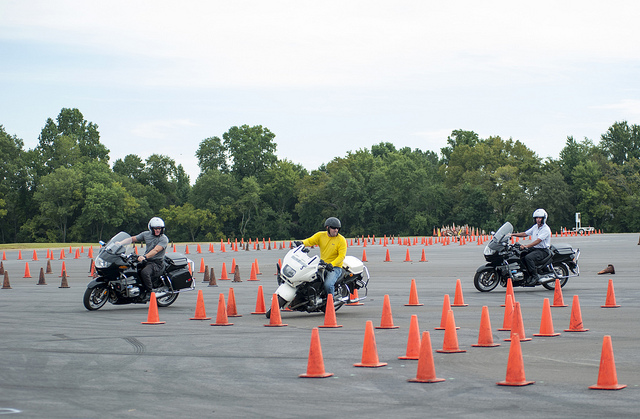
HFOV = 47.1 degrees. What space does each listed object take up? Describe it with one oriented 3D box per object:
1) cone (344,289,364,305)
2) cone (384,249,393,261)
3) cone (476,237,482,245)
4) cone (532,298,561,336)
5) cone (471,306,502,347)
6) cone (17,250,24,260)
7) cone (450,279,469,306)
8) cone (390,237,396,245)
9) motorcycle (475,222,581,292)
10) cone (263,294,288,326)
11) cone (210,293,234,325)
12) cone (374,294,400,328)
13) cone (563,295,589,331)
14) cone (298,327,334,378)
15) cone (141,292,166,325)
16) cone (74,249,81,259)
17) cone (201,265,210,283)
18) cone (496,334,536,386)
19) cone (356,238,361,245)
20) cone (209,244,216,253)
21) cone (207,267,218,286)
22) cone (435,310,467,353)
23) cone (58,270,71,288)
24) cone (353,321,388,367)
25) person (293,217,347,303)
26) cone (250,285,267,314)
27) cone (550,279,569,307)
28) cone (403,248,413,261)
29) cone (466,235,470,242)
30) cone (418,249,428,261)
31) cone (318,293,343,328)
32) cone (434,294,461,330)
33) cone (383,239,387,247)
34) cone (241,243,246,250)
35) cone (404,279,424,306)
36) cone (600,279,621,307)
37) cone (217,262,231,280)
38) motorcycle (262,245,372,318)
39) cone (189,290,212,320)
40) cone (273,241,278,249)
[{"bbox_3d":[0.895,2.336,19.357,0.448,0.499,0.454,2,0,33],"label":"cone"},{"bbox_3d":[3.672,2.481,39.663,0.468,0.620,0.462,-6,6,-42],"label":"cone"},{"bbox_3d":[13.503,2.649,61.788,0.465,0.654,0.463,-1,-5,-4],"label":"cone"},{"bbox_3d":[4.734,2.227,15.347,0.532,0.783,0.570,-2,0,24],"label":"cone"},{"bbox_3d":[3.219,2.268,14.273,0.718,0.968,0.707,-1,-2,10],"label":"cone"},{"bbox_3d":[-21.268,3.210,52.362,0.575,0.819,0.568,4,-7,-26],"label":"cone"},{"bbox_3d":[3.606,2.280,19.904,0.614,0.751,0.618,-1,-6,-5],"label":"cone"},{"bbox_3d":[7.082,3.098,70.673,0.427,0.469,0.419,-1,-2,19],"label":"cone"},{"bbox_3d":[6.291,1.583,22.326,3.041,1.744,1.239,-1,-11,16],"label":"motorcycle"},{"bbox_3d":[-0.997,2.318,17.002,0.505,0.715,0.436,-2,0,21],"label":"cone"},{"bbox_3d":[-2.262,2.337,17.268,0.537,0.712,0.515,-2,0,11],"label":"cone"},{"bbox_3d":[1.464,2.248,16.637,0.694,0.902,0.704,-1,1,21],"label":"cone"},{"bbox_3d":[5.529,2.224,15.849,0.461,0.766,0.554,-2,0,30],"label":"cone"},{"bbox_3d":[-0.071,2.387,12.381,0.432,0.841,0.432,-2,0,41],"label":"cone"},{"bbox_3d":[-3.956,2.353,17.550,0.538,0.747,0.608,-2,0,-22],"label":"cone"},{"bbox_3d":[-15.919,2.955,48.545,0.471,0.595,0.464,-1,1,-28],"label":"cone"},{"bbox_3d":[-4.223,2.494,27.668,0.465,0.519,0.470,3,-12,-1],"label":"cone"},{"bbox_3d":[3.080,2.369,11.653,0.472,0.889,0.475,-2,0,45],"label":"cone"},{"bbox_3d":[4.193,3.261,76.168,0.557,0.603,0.553,0,-4,0],"label":"cone"},{"bbox_3d":[-8.150,3.063,56.161,0.428,0.498,0.433,1,2,44],"label":"cone"},{"bbox_3d":[-3.823,2.433,26.245,0.492,0.649,0.480,2,-5,-15],"label":"cone"},{"bbox_3d":[2.450,2.267,13.706,0.751,0.965,0.747,0,-4,2],"label":"cone"},{"bbox_3d":[-9.206,2.569,26.558,0.453,0.617,0.447,5,-9,-35],"label":"cone"},{"bbox_3d":[0.889,2.344,12.972,0.482,0.799,0.430,-2,0,-44],"label":"cone"},{"bbox_3d":[0.042,1.365,18.758,1.147,2.350,1.285,7,2,33],"label":"person"},{"bbox_3d":[-1.559,2.398,19.238,0.512,0.695,0.511,-2,-1,10],"label":"cone"},{"bbox_3d":[6.334,2.185,19.517,0.650,0.877,0.658,-2,2,18],"label":"cone"},{"bbox_3d":[4.603,2.414,38.799,0.497,0.636,0.502,-2,-7,29],"label":"cone"},{"bbox_3d":[14.820,2.951,73.597,0.432,0.580,0.433,-1,0,15],"label":"cone"},{"bbox_3d":[5.576,2.398,38.729,0.549,0.718,0.542,-3,4,-10],"label":"cone"},{"bbox_3d":[0.251,2.306,16.798,0.471,0.762,0.421,-2,0,39],"label":"cone"},{"bbox_3d":[2.805,2.268,16.372,0.750,0.855,0.746,0,-4,2],"label":"cone"},{"bbox_3d":[5.987,3.102,66.745,0.446,0.811,0.390,-5,1,-1],"label":"cone"},{"bbox_3d":[-6.687,3.190,64.252,0.591,0.638,0.597,2,-6,-5],"label":"cone"},{"bbox_3d":[2.573,2.225,20.014,0.520,0.710,0.650,-2,0,7],"label":"cone"},{"bbox_3d":[7.614,2.173,19.211,0.461,0.692,0.803,-2,0,28],"label":"cone"},{"bbox_3d":[-3.839,2.498,29.310,0.574,0.610,0.562,-2,-2,5],"label":"cone"},{"bbox_3d":[-0.120,1.848,18.749,1.465,1.477,3.456,21,12,36],"label":"motorcycle"},{"bbox_3d":[-2.935,2.347,18.197,0.668,0.797,0.635,-1,0,-10],"label":"cone"},{"bbox_3d":[-3.718,3.091,63.536,0.439,0.461,0.420,7,-10,-21],"label":"cone"}]
